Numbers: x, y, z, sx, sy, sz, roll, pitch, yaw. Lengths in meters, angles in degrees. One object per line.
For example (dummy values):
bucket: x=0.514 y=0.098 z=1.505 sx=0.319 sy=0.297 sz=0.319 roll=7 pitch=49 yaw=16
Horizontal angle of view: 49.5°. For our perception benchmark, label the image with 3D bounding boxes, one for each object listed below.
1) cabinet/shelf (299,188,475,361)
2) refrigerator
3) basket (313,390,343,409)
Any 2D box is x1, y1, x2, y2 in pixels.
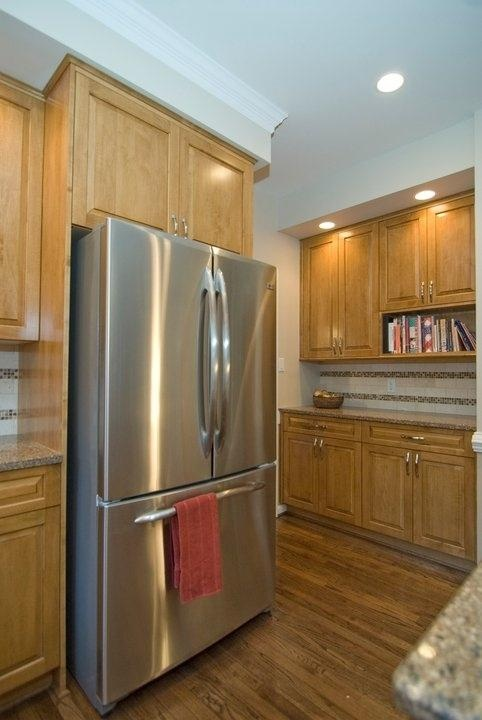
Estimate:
cabinet/shelf: x=0.940 y=-0.539 z=3.261 sx=0.150 sy=0.672 sz=0.907 roll=4 pitch=-7 yaw=-34
refrigerator: x=-0.209 y=0.332 z=1.942 sx=0.813 sy=1.570 sz=0.353 roll=-1 pitch=2 yaw=-37
basket: x=0.616 y=0.293 z=3.739 sx=0.205 sy=0.115 sz=0.197 roll=2 pitch=3 yaw=33
